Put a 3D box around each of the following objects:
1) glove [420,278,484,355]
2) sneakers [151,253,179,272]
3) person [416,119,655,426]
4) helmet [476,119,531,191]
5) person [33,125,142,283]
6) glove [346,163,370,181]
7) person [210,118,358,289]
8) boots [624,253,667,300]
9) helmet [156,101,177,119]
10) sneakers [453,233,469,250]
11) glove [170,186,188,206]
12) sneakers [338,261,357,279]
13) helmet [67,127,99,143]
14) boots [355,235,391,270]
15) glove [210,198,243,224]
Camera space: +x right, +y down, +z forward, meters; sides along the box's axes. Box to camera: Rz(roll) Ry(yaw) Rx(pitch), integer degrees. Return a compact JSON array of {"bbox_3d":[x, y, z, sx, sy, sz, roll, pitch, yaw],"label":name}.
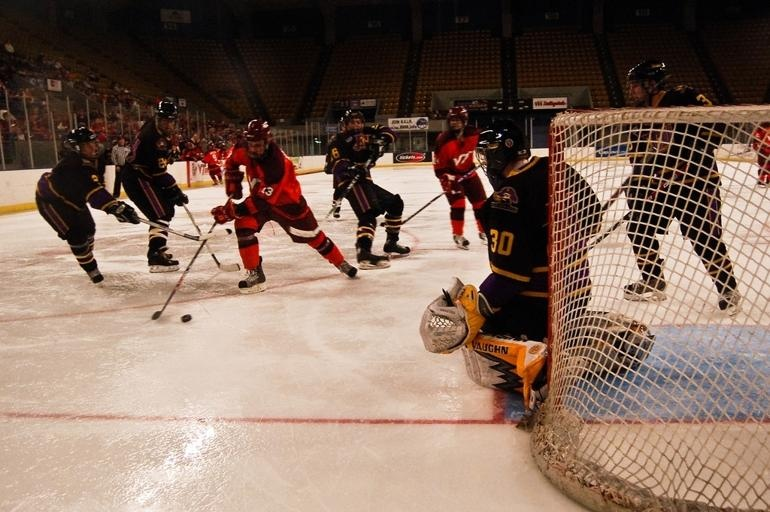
[{"bbox_3d":[0.304,0.267,2.809,0.282,0.327,0.118,-1,14,5],"label":"glove"},{"bbox_3d":[-1.990,0.047,5.685,0.285,0.154,0.134,-1,0,-15],"label":"sneakers"},{"bbox_3d":[0.746,0.009,2.883,0.824,1.276,0.840,6,16,32],"label":"person"},{"bbox_3d":[0.546,-0.511,3.061,0.375,0.355,0.321,1,8,19],"label":"helmet"},{"bbox_3d":[-2.555,-0.455,5.302,0.668,1.272,0.587,6,16,31],"label":"person"},{"bbox_3d":[-0.271,-0.795,5.790,0.184,0.080,0.219,-2,1,-22],"label":"glove"},{"bbox_3d":[-0.906,-0.410,4.870,0.871,1.291,0.692,3,15,21],"label":"person"},{"bbox_3d":[1.539,0.143,3.651,0.278,0.232,0.115,-12,1,42],"label":"boots"},{"bbox_3d":[-2.045,-1.385,5.813,0.179,0.181,0.235,-6,13,-16],"label":"helmet"},{"bbox_3d":[0.795,-0.157,6.359,0.095,0.086,0.227,-11,11,-20],"label":"sneakers"},{"bbox_3d":[-2.036,-0.609,6.153,0.204,0.140,0.074,29,63,12],"label":"glove"},{"bbox_3d":[-0.290,0.118,5.106,0.219,0.077,0.095,36,5,40],"label":"sneakers"},{"bbox_3d":[-2.516,-1.011,5.210,0.214,0.140,0.155,-18,24,-25],"label":"helmet"},{"bbox_3d":[-0.124,-0.046,5.549,0.386,0.287,0.160,-3,19,-34],"label":"boots"},{"bbox_3d":[-1.229,-0.342,4.735,0.221,0.089,0.226,-33,23,-27],"label":"glove"}]
